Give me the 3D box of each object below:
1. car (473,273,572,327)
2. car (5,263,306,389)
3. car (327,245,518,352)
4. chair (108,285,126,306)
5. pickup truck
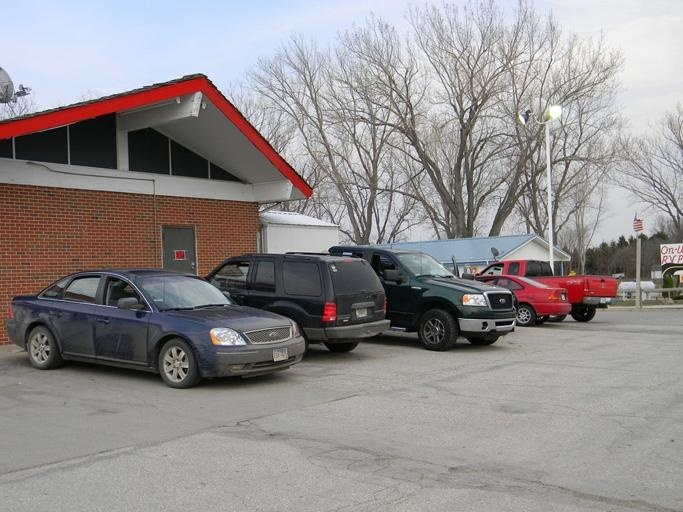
[{"bbox_3d":[6.256,1.362,19.215,3.608,1.301,1.762,2,2,39],"label":"car"},{"bbox_3d":[-3.420,1.095,10.251,4.670,1.549,2.152,0,-2,29],"label":"car"},{"bbox_3d":[1.781,0.913,14.502,2.241,2.064,4.760,-1,0,-45],"label":"car"},{"bbox_3d":[-3.928,0.714,10.114,0.324,0.308,0.565,1,-4,-13],"label":"chair"},{"bbox_3d":[7.375,1.160,20.959,4.887,1.773,2.418,2,1,38],"label":"pickup truck"}]
